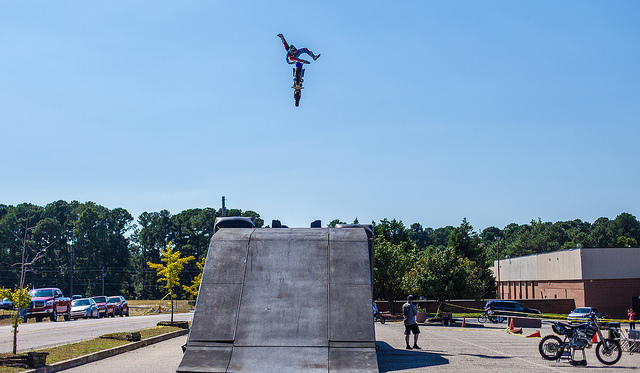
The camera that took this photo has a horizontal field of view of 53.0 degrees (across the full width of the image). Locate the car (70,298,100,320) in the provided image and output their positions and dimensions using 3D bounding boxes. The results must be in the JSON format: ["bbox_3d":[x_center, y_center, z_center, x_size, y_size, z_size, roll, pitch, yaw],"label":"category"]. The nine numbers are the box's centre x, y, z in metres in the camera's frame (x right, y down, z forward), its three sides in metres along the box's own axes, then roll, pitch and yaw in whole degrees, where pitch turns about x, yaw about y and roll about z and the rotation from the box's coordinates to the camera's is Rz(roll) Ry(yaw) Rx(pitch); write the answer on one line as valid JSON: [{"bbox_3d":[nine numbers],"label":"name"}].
[{"bbox_3d":[-25.320,13.034,68.390,1.897,2.192,3.501,-3,-12,14],"label":"car"}]

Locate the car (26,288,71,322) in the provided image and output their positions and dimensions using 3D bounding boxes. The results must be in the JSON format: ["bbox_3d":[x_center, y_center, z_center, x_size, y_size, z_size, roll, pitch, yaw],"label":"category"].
[{"bbox_3d":[-27.402,11.923,64.474,1.643,3.254,4.159,-9,-15,37],"label":"car"}]

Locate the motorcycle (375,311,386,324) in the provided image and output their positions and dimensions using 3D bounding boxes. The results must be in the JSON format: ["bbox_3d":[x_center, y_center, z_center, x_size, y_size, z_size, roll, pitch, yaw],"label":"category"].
[{"bbox_3d":[6.226,13.715,66.891,0.940,1.146,2.206,-1,-11,4],"label":"motorcycle"}]

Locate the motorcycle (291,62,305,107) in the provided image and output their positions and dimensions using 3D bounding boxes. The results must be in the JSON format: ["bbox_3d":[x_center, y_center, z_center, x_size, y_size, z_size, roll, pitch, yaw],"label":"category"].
[{"bbox_3d":[-1.541,-7.509,46.103,0.644,3.713,1.760,0,-12,-4],"label":"motorcycle"}]

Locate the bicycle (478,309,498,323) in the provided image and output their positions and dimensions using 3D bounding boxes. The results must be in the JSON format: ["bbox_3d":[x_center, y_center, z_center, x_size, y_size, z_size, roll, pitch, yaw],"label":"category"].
[{"bbox_3d":[18.527,14.517,70.340,2.071,1.163,0.975,-1,3,4],"label":"bicycle"}]

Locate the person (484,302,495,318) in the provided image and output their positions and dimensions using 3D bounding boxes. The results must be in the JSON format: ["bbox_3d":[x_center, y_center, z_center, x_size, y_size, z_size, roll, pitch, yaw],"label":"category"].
[{"bbox_3d":[18.347,13.337,69.168,1.013,1.669,1.055,-3,-12,12],"label":"person"}]

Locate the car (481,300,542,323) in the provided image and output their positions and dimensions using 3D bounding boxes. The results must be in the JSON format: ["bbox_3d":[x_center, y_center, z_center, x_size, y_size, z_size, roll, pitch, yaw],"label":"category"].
[{"bbox_3d":[21.399,13.706,69.978,5.583,1.898,2.417,-1,-2,-10],"label":"car"}]
